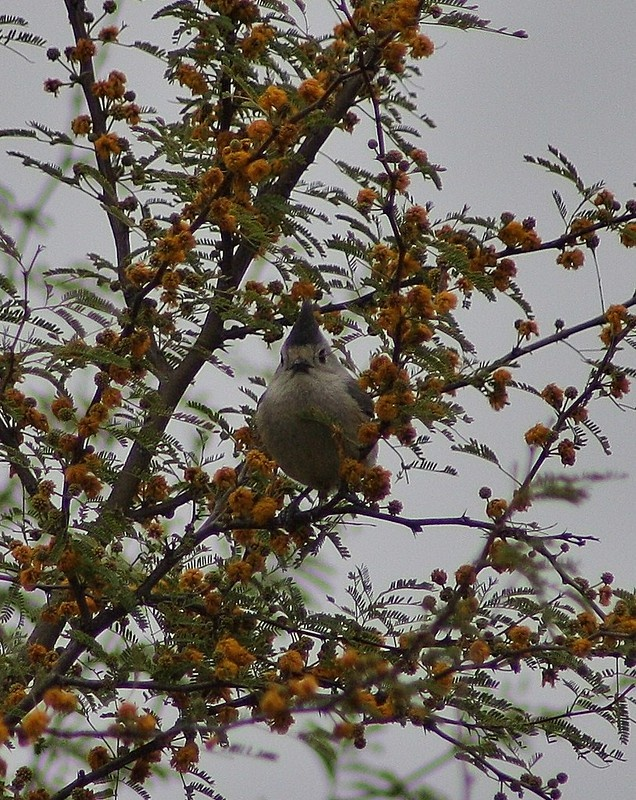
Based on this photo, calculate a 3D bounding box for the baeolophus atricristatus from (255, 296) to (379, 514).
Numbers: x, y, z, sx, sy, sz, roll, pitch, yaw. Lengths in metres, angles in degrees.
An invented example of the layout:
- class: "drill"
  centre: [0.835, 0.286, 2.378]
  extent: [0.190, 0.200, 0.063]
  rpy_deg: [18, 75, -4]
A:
- class: "baeolophus atricristatus"
  centre: [0.010, 0.028, 7.127]
  extent: [0.444, 0.736, 0.698]
  rpy_deg: [-6, -90, 7]
